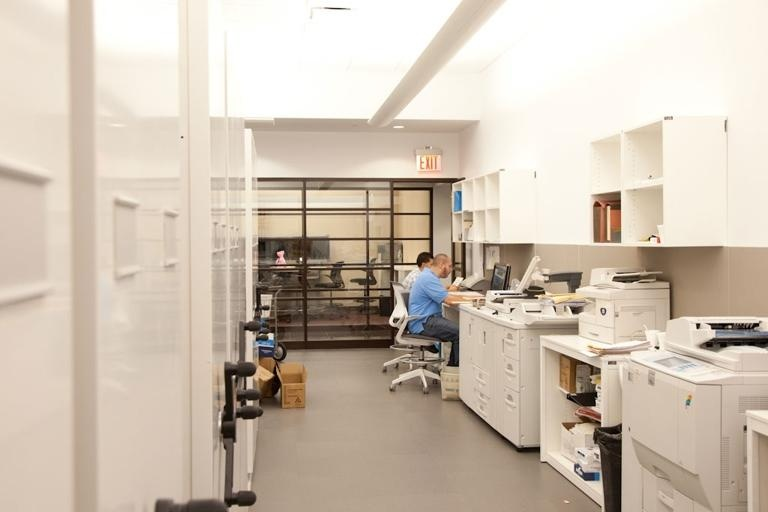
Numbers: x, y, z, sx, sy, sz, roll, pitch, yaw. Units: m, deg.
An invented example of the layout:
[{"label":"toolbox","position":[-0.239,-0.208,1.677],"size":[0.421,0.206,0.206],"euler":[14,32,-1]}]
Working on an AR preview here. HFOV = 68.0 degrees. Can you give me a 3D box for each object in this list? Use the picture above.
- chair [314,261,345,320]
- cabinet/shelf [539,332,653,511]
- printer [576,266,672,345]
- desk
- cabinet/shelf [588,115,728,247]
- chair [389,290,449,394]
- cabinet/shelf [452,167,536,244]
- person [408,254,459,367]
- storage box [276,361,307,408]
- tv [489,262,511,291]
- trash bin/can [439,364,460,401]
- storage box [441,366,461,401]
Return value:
[{"label":"chair","position":[-0.770,0.387,7.844],"size":[0.394,0.585,0.363],"euler":[-14,17,-28]},{"label":"cabinet/shelf","position":[1.160,0.923,3.130],"size":[0.389,0.892,0.994],"euler":[1,-1,-3]},{"label":"printer","position":[1.404,0.298,3.472],"size":[0.486,0.453,0.426],"euler":[0,0,-5]},{"label":"desk","position":[1.084,0.885,4.570],"size":[0.703,0.884,1.290],"euler":[-1,3,-9]},{"label":"cabinet/shelf","position":[1.543,-0.405,3.422],"size":[0.287,0.610,0.840],"euler":[-3,5,-9]},{"label":"chair","position":[0.347,0.834,5.881],"size":[0.769,0.950,0.804],"euler":[6,-4,-21]},{"label":"cabinet/shelf","position":[1.105,-0.500,6.012],"size":[0.337,0.738,1.415],"euler":[-1,0,-13]},{"label":"person","position":[0.510,0.587,5.826],"size":[0.664,1.184,0.511],"euler":[0,4,-5]},{"label":"storage box","position":[-0.828,1.156,5.146],"size":[0.282,0.266,0.401],"euler":[-1,6,-15]},{"label":"tv","position":[1.122,0.202,5.541],"size":[0.170,0.243,0.631],"euler":[0,0,11]},{"label":"trash bin/can","position":[0.576,1.169,5.225],"size":[0.196,0.179,0.265],"euler":[0,-2,1]},{"label":"storage box","position":[0.600,1.168,5.243],"size":[0.159,0.281,0.150],"euler":[-1,1,3]}]
